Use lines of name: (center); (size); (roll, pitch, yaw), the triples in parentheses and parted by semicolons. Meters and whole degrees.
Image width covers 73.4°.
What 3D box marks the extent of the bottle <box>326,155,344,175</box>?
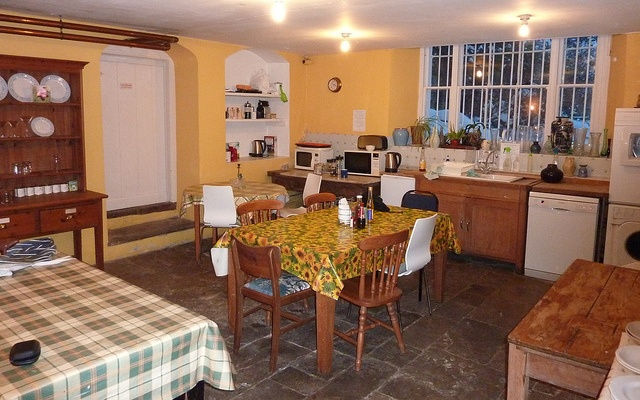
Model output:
bottle: (0.266, -0.607, 7.612); (0.398, 0.359, 0.227); (-2, 11, -15)

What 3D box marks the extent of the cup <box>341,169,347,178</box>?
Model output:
cup: (0.404, -0.442, 7.249); (0.128, 0.129, 0.128); (0, 5, 0)

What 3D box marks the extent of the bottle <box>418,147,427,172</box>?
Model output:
bottle: (1.702, -0.680, 7.106); (0.121, 0.357, 0.445); (1, 14, 14)

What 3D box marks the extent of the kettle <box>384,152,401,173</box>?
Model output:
kettle: (1.188, -0.637, 7.075); (0.242, 0.317, 0.314); (0, 14, 11)

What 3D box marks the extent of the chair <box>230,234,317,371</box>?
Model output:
chair: (-0.385, 0.928, 4.179); (0.763, 1.121, 0.816); (4, 7, 32)

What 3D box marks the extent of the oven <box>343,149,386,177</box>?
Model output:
oven: (0.735, -0.642, 7.263); (0.707, 0.433, 0.456); (10, 11, 41)

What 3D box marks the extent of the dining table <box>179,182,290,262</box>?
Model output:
dining table: (-1.382, 0.170, 6.317); (1.360, 0.862, 1.308); (-4, 10, -27)

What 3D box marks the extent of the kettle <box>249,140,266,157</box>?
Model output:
kettle: (-1.160, -0.967, 7.986); (0.336, 0.309, 0.247); (5, 7, 17)

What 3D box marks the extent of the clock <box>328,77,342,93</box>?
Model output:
clock: (0.259, -2.112, 7.861); (0.294, 0.270, 0.087); (9, 18, 40)

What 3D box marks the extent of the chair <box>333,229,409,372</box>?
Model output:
chair: (0.424, 0.900, 4.206); (0.801, 1.218, 0.809); (-1, 7, -21)

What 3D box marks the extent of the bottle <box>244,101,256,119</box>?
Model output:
bottle: (-1.304, -1.669, 7.920); (0.212, 0.316, 0.310); (-5, 13, -8)

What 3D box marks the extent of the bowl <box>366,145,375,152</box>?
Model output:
bowl: (0.851, -0.875, 7.223); (0.118, 0.074, 0.116); (3, 8, 0)

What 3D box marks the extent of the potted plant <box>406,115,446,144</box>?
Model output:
potted plant: (1.853, -1.255, 7.720); (0.534, 0.492, 0.536); (-6, 18, -37)

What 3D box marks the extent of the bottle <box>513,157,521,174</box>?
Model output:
bottle: (3.001, -0.558, 6.547); (0.101, 0.235, 0.102); (-2, 14, 1)

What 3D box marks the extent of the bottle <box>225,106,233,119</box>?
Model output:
bottle: (-1.614, -1.567, 7.680); (0.150, 0.190, 0.215); (-5, 14, -11)

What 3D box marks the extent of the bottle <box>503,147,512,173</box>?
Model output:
bottle: (2.881, -0.637, 6.614); (0.106, 0.349, 0.099); (-3, 14, 1)

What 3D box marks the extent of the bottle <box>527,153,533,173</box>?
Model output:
bottle: (3.167, -0.561, 6.486); (0.072, 0.258, 0.104); (4, 15, 26)

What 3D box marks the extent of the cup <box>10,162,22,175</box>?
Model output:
cup: (-3.759, -0.396, 5.312); (0.113, 0.127, 0.108); (-2, 13, 1)

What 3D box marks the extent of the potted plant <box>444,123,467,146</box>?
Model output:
potted plant: (2.268, -1.115, 7.303); (0.443, 0.413, 0.372); (0, 3, 1)

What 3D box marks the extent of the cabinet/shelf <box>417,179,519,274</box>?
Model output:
cabinet/shelf: (2.022, 0.351, 5.715); (1.294, 0.919, 0.475); (6, 9, 35)
